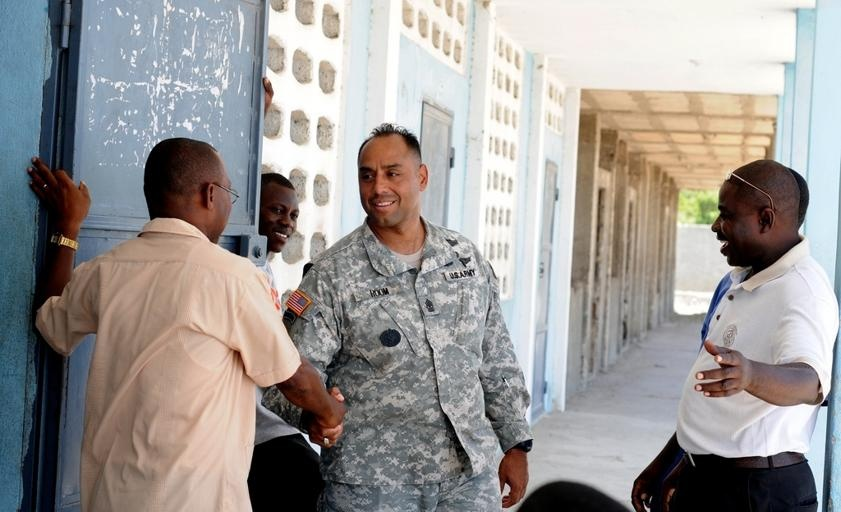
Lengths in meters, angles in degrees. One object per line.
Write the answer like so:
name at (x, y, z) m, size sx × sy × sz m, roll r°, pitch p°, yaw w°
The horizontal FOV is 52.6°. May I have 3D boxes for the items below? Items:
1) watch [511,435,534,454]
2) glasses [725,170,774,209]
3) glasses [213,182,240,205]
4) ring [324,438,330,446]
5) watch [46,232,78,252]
watch at (0.519, 0.978, 4.375) m, size 0.099 × 0.088 × 0.078 m, roll 5°, pitch 0°, yaw 28°
glasses at (1.653, -0.343, 4.230) m, size 0.200 × 0.057 × 0.196 m, roll 27°, pitch 3°, yaw 5°
glasses at (-0.887, -0.290, 3.881) m, size 0.144 × 0.039 × 0.145 m, roll 9°, pitch -8°, yaw 19°
ring at (-0.421, 0.845, 3.855) m, size 0.034 × 0.030 × 0.055 m, roll 3°, pitch -29°, yaw -7°
watch at (-1.610, -0.056, 3.829) m, size 0.104 × 0.069 × 0.109 m, roll -7°, pitch -10°, yaw 25°
